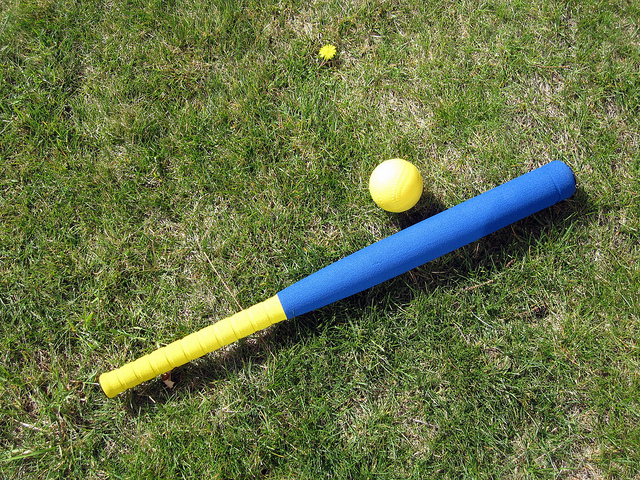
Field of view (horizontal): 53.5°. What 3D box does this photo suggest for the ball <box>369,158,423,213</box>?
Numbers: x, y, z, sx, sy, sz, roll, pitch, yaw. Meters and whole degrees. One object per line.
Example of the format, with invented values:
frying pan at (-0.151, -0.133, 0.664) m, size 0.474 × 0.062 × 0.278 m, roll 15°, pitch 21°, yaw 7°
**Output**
ball at (0.507, -0.362, 4.202) m, size 0.311 × 0.355 × 0.329 m, roll -2°, pitch 15°, yaw 1°
